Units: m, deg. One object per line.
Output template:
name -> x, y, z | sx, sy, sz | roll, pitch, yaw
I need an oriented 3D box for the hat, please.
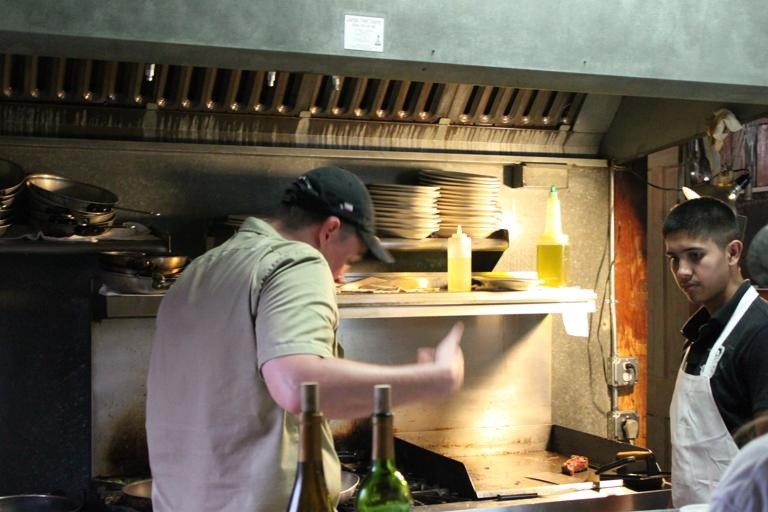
hat -> -0.160, -0.181, 3.048 | 0.517, 0.233, 0.327 | 24, -6, -21

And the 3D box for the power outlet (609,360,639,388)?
power outlet -> 1.287, 0.617, 4.527 | 0.186, 0.137, 0.094 | 1, -3, -18

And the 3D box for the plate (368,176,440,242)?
plate -> 0.108, -0.216, 3.924 | 0.333, 0.158, 0.294 | 0, -3, 0

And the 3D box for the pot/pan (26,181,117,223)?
pot/pan -> -1.345, -0.235, 3.666 | 0.251, 0.101, 0.278 | 28, 25, 38

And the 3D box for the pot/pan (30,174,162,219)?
pot/pan -> -1.347, -0.294, 3.727 | 0.368, 0.048, 0.214 | 15, 7, -1

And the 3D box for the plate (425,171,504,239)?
plate -> 0.361, -0.246, 4.177 | 0.376, 0.199, 0.352 | 2, -4, 27
